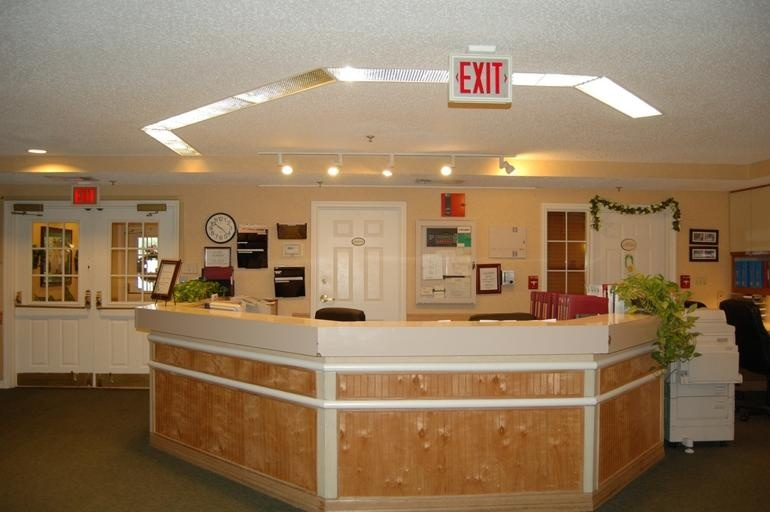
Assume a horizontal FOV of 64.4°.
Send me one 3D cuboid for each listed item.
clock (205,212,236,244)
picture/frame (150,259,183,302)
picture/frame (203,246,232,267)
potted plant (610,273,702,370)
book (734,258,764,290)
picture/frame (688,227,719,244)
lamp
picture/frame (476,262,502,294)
[{"bbox_3d":[-2.235,-0.376,8.296,0.037,0.408,0.480,6,6,41],"label":"clock"},{"bbox_3d":[-2.314,0.240,6.475,0.436,0.460,0.076,3,-14,46],"label":"picture/frame"},{"bbox_3d":[-2.273,0.010,8.275,0.327,0.253,0.029,2,-4,-3],"label":"picture/frame"},{"bbox_3d":[2.722,0.558,5.969,1.003,0.901,0.593,15,-31,-43],"label":"potted plant"},{"bbox_3d":[4.999,0.253,8.498,0.400,0.442,0.508,0,-3,4],"label":"book"},{"bbox_3d":[4.483,-0.278,8.598,0.428,0.232,0.047,0,10,-3],"label":"picture/frame"},{"bbox_3d":[0.085,-1.133,7.591,2.953,0.330,0.857,1,8,5],"label":"lamp"},{"bbox_3d":[1.411,0.309,8.410,0.521,0.507,0.043,0,-1,-8],"label":"picture/frame"}]
